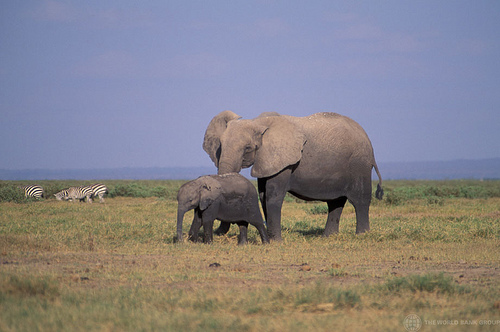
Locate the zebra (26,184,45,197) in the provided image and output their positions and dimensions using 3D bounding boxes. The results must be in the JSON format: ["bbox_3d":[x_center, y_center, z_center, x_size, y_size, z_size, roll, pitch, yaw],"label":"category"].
[{"bbox_3d":[-12.343,1.475,46.666,0.468,0.763,1.340,-8,-16,30],"label":"zebra"}]
